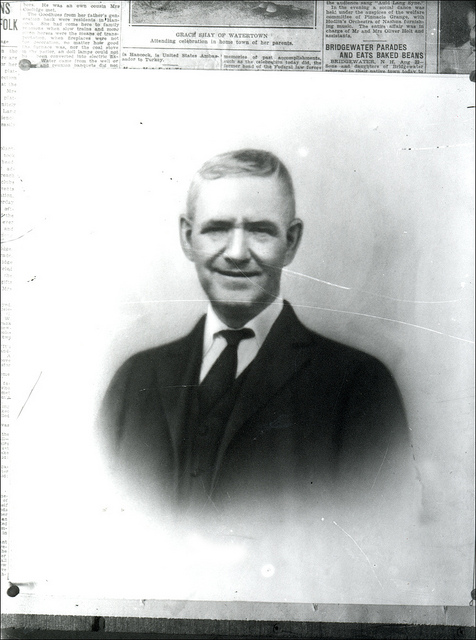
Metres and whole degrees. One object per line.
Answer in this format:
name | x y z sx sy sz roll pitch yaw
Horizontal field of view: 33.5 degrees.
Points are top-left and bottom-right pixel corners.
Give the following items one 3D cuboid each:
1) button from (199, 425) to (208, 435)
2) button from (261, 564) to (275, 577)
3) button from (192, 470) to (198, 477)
button | -0.097 0.298 2.141 0.025 0.027 0.006 2 2 1
button | 0.079 0.672 2.121 0.035 0.032 0.009 0 9 -7
button | -0.118 0.413 2.138 0.009 0.018 0.017 1 -25 2
